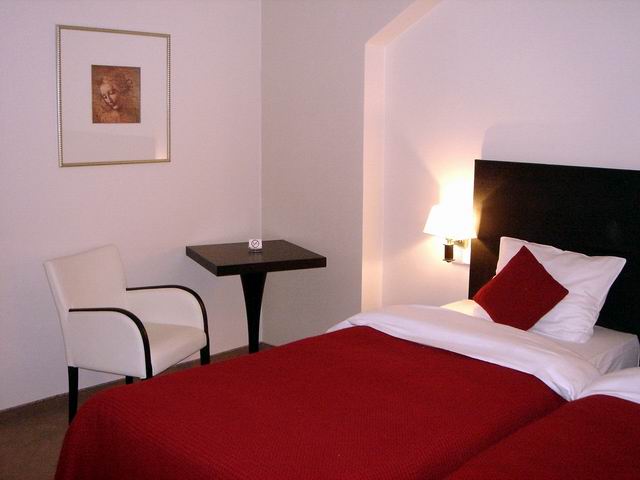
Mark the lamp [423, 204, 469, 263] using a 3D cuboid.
[{"bbox_3d":[0.988,-0.047,3.625,0.377,0.478,0.395,3,2,-31],"label":"lamp"}]

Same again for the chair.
[{"bbox_3d":[-1.441,0.590,4.068,1.218,1.667,1.085,3,8,23],"label":"chair"}]

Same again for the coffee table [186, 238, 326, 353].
[{"bbox_3d":[-0.576,0.268,4.401,1.044,1.166,0.976,-5,8,-34],"label":"coffee table"}]
